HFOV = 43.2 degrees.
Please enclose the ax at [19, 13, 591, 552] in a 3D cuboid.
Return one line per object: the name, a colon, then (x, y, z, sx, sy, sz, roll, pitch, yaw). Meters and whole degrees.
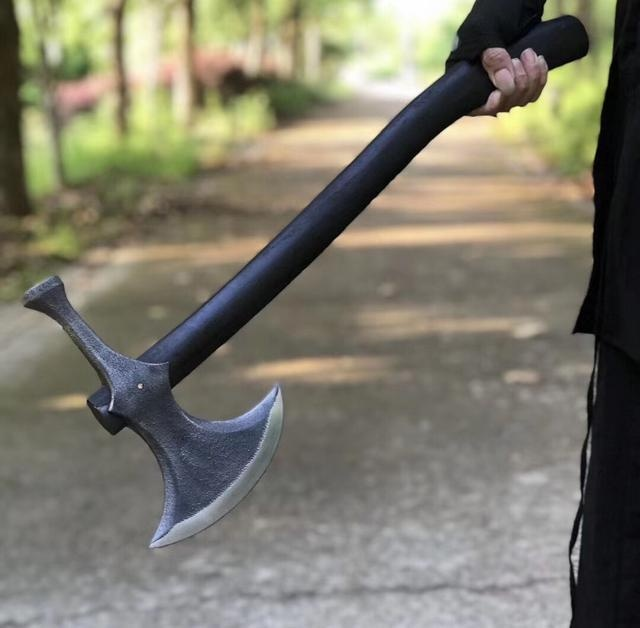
ax: (0.056, -0.054, 1.085, 0.942, 0.112, 0.385, -31, 56, -9)
